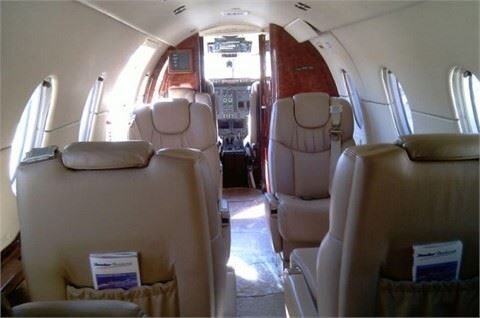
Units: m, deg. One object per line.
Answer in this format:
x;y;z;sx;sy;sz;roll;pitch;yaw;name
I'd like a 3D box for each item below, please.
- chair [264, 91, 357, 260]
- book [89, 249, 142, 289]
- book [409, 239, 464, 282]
0.728;0.193;3.356;1.031;1.557;0.970;-3;15;-8;chair
-0.654;0.594;1.762;0.214;0.234;0.060;-2;10;-1;book
0.951;0.489;1.626;0.199;0.196;0.035;-5;16;2;book
